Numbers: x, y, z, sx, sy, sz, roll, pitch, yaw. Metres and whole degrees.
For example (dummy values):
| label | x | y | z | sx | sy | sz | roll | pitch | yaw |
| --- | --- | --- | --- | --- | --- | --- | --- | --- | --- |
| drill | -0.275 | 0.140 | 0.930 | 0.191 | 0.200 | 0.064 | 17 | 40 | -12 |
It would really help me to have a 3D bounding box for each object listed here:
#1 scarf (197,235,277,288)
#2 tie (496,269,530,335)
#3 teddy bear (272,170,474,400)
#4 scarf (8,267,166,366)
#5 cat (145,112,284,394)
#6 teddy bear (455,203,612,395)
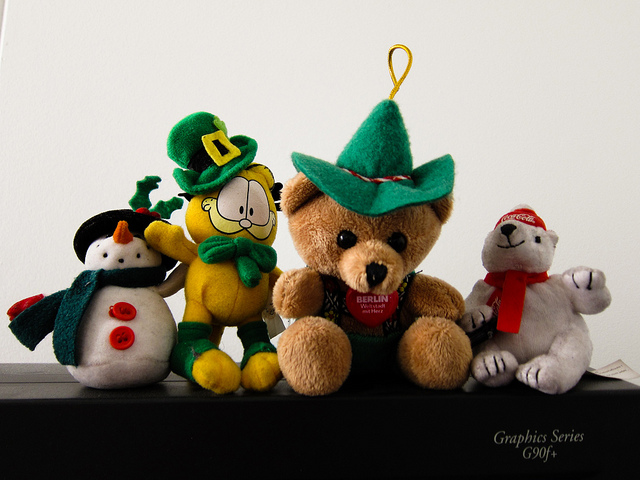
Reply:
| label | x | y | z | sx | sy | sz | roll | pitch | yaw |
| --- | --- | --- | --- | --- | --- | --- | --- | --- | --- |
| scarf | -0.165 | 0.055 | 1.580 | 0.202 | 0.058 | 0.149 | 5 | 39 | -36 |
| tie | 0.413 | 0.125 | 1.547 | 0.054 | 0.011 | 0.196 | 0 | 37 | 21 |
| teddy bear | 0.104 | 0.082 | 1.537 | 0.384 | 0.490 | 0.340 | 2 | -1 | -5 |
| scarf | -0.505 | 0.123 | 1.503 | 0.240 | 0.210 | 0.232 | -1 | 7 | -14 |
| cat | -0.200 | 0.034 | 1.633 | 0.397 | 0.680 | 0.271 | 7 | -17 | -25 |
| teddy bear | 0.445 | 0.122 | 1.522 | 0.293 | 0.350 | 0.272 | 10 | 14 | 31 |
